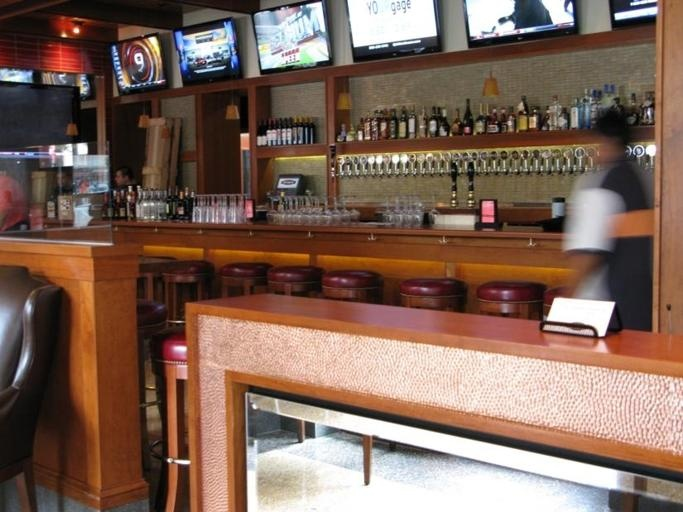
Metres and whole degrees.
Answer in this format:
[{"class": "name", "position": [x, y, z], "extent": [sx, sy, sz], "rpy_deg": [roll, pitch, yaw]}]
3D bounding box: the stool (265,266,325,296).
[{"class": "stool", "position": [-0.428, 0.194, 5.409], "extent": [0.377, 0.217, 0.348], "rpy_deg": [1, 1, 2]}]

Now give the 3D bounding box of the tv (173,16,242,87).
[{"class": "tv", "position": [-1.975, -2.930, 8.459], "extent": [0.108, 0.808, 1.210], "rpy_deg": [18, 34, 30]}]

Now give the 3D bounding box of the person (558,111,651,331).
[{"class": "person", "position": [1.341, -0.174, 2.937], "extent": [0.412, 1.122, 0.407], "rpy_deg": [-3, 11, 21]}]

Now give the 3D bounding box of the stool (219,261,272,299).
[{"class": "stool", "position": [-0.996, 0.275, 6.066], "extent": [0.498, 0.365, 0.462], "rpy_deg": [1, 3, 28]}]

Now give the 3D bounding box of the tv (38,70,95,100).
[{"class": "tv", "position": [-5.369, -3.345, 11.443], "extent": [0.963, 0.567, 0.348], "rpy_deg": [-10, 10, -21]}]

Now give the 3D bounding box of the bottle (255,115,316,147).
[{"class": "bottle", "position": [-0.750, -1.709, 8.022], "extent": [0.624, 0.277, 0.118], "rpy_deg": [2, 5, 23]}]

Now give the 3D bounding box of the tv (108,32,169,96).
[{"class": "tv", "position": [-3.261, -3.104, 9.443], "extent": [1.394, 0.878, 0.137], "rpy_deg": [6, 18, 37]}]

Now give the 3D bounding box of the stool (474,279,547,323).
[{"class": "stool", "position": [1.356, 0.357, 4.334], "extent": [0.393, 0.292, 0.357], "rpy_deg": [-4, 0, 12]}]

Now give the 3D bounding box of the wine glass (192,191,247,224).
[{"class": "wine glass", "position": [-1.451, -0.566, 6.928], "extent": [0.826, 0.332, 0.277], "rpy_deg": [1, 13, 36]}]

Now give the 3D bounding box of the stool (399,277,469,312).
[{"class": "stool", "position": [0.711, 0.290, 4.488], "extent": [0.360, 0.195, 0.330], "rpy_deg": [0, 0, 3]}]
